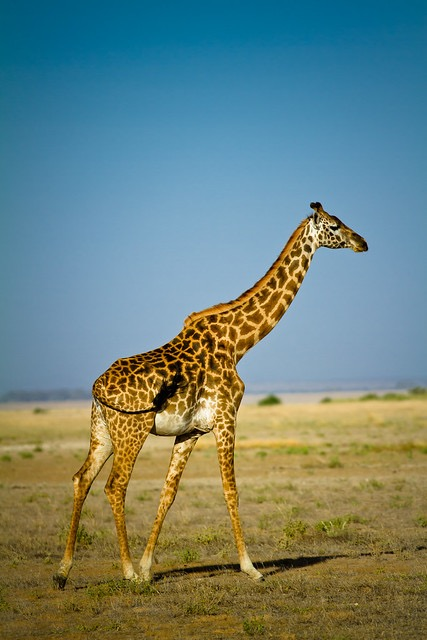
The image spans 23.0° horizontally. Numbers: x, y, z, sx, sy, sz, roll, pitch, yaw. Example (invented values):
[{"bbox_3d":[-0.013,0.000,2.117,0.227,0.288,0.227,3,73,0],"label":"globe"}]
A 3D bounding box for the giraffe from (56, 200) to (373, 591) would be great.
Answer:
[{"bbox_3d":[-0.217,1.068,15.473,3.953,5.819,1.286,1,4,-33],"label":"giraffe"}]
